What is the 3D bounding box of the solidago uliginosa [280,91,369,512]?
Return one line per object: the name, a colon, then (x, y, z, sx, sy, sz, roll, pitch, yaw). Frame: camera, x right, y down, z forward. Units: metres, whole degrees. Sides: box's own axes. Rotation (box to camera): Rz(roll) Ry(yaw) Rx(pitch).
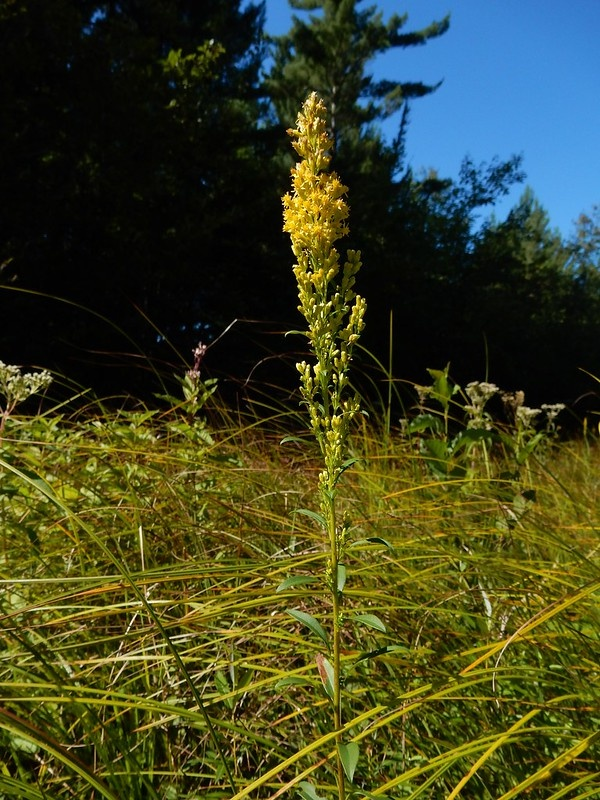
solidago uliginosa: (0.048, -0.242, 1.866, 0.218, 0.974, 0.333, 5, 0, 0)
